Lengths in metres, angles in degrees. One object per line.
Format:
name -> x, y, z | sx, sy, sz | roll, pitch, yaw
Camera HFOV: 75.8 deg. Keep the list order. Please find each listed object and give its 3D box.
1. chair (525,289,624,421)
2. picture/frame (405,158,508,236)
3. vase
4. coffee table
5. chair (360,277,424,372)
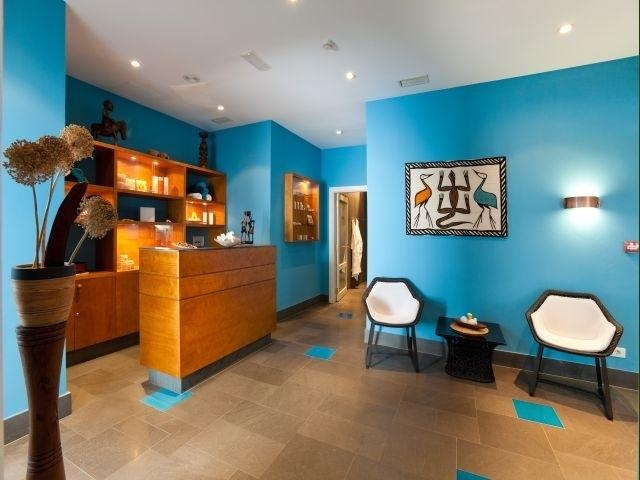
chair -> 2.571, 1.106, 4.222 | 0.810, 1.098, 0.672 | 2, 3, 27
picture/frame -> 1.679, -0.521, 4.886 | 0.929, 0.775, 0.017 | 0, 0, 21
vase -> -1.897, 0.379, 2.828 | 0.507, 0.400, 0.507 | -1, 2, -36
coffee table -> 1.712, 1.178, 4.613 | 0.641, 0.492, 0.629 | 1, -3, 23
chair -> 0.855, 0.969, 4.871 | 0.698, 0.974, 0.736 | 1, 3, 14
